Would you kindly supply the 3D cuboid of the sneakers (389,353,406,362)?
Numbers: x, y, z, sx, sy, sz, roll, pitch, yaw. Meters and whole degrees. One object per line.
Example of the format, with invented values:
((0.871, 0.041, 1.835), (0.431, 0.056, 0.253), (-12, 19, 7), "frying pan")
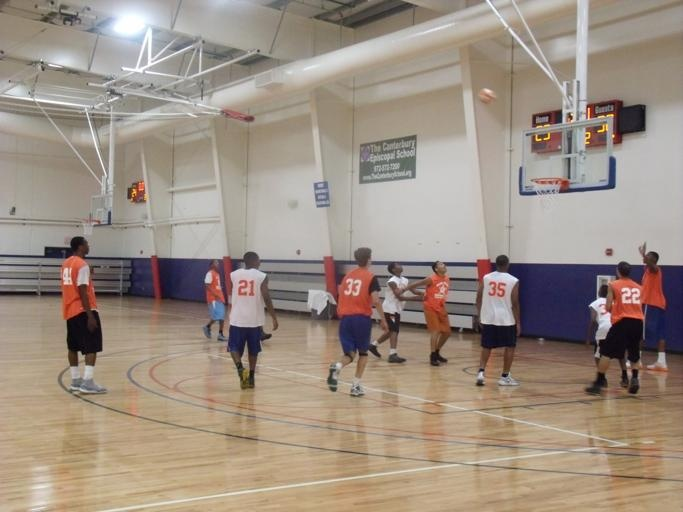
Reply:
((0.859, 1.658, 8.857), (0.339, 0.164, 0.114), (1, -6, -3), "sneakers")

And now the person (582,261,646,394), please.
((3.380, 0.995, 6.683), (0.575, 1.625, 0.459), (1, 1, 7), "person")

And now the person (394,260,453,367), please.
((1.527, 1.064, 10.023), (0.618, 1.986, 1.551), (-6, -6, 43), "person")

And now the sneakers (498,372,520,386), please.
((2.212, 1.616, 7.222), (0.327, 0.206, 0.118), (1, 1, -17), "sneakers")

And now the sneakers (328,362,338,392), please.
((-0.117, 1.332, 6.028), (0.109, 0.308, 0.128), (-2, -1, 11), "sneakers")

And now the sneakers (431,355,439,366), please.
((1.472, 1.604, 8.619), (0.148, 0.176, 0.333), (1, 1, 10), "sneakers")

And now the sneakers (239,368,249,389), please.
((-1.176, 1.458, 6.576), (0.098, 0.273, 0.114), (2, 4, -6), "sneakers")

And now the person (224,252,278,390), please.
((-1.126, 0.801, 6.987), (0.618, 1.170, 1.016), (1, 1, -8), "person")

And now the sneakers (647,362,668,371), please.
((4.809, 1.695, 8.337), (0.251, 0.109, 0.124), (5, 0, 41), "sneakers")

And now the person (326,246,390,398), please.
((0.187, 0.787, 6.501), (0.637, 1.384, 1.162), (1, 1, -1), "person")

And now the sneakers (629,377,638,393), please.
((3.573, 1.574, 6.673), (0.084, 0.201, 0.085), (4, 45, 6), "sneakers")

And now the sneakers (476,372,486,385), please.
((1.823, 1.601, 7.167), (0.091, 0.113, 0.249), (2, -4, 2), "sneakers")

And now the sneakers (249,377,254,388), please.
((-1.115, 1.560, 6.744), (0.091, 0.110, 0.251), (2, -10, -6), "sneakers")

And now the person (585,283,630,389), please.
((3.389, 0.884, 6.765), (0.604, 1.632, 0.516), (1, 6, 23), "person")

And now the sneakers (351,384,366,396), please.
((0.204, 1.597, 6.571), (0.085, 0.109, 0.236), (0, -2, 15), "sneakers")

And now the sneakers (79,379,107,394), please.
((-2.862, 1.484, 6.367), (0.395, 0.187, 0.148), (1, 1, -24), "sneakers")

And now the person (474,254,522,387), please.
((2.030, 0.849, 7.087), (0.529, 1.541, 0.648), (2, 1, 18), "person")

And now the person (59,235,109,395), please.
((-2.934, 0.691, 6.213), (0.592, 1.786, 0.423), (2, 1, 35), "person")

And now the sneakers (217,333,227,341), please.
((-2.327, 1.573, 10.509), (0.240, 0.104, 0.104), (-4, -5, 34), "sneakers")
